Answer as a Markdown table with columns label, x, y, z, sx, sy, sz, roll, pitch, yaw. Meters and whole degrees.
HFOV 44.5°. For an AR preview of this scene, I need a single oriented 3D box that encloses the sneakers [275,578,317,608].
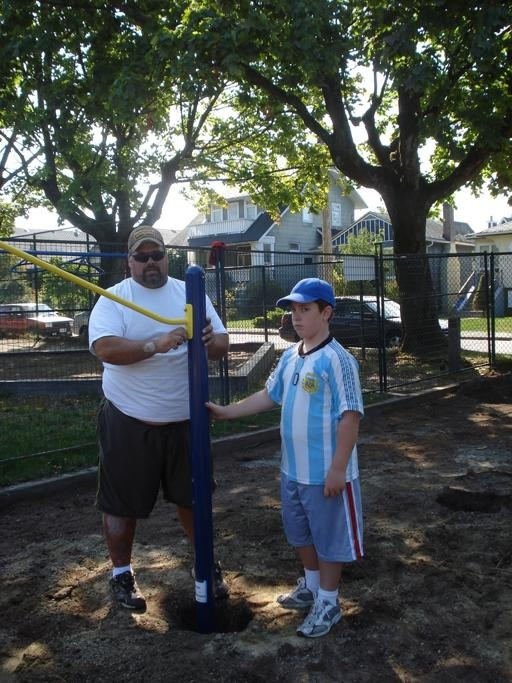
| label | x | y | z | sx | sy | sz | roll | pitch | yaw |
| --- | --- | --- | --- | --- | --- | --- | --- | --- | --- |
| sneakers | 0.187 | 1.175 | 2.907 | 0.237 | 0.107 | 0.081 | 1 | -6 | -2 |

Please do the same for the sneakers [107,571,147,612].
| label | x | y | z | sx | sy | sz | roll | pitch | yaw |
| --- | --- | --- | --- | --- | --- | --- | --- | --- | --- |
| sneakers | -0.610 | 1.184 | 2.952 | 0.090 | 0.104 | 0.244 | 0 | -4 | -34 |

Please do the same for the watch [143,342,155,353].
| label | x | y | z | sx | sy | sz | roll | pitch | yaw |
| --- | --- | --- | --- | --- | --- | --- | --- | --- | --- |
| watch | -0.468 | 0.025 | 2.748 | 0.065 | 0.050 | 0.017 | 1 | 6 | 28 |

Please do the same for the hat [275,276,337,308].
| label | x | y | z | sx | sy | sz | roll | pitch | yaw |
| --- | --- | --- | --- | --- | --- | --- | --- | --- | --- |
| hat | 0.229 | -0.225 | 2.733 | 0.207 | 0.100 | 0.138 | 4 | -3 | -15 |

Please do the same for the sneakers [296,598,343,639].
| label | x | y | z | sx | sy | sz | roll | pitch | yaw |
| --- | --- | --- | --- | --- | --- | --- | --- | --- | --- |
| sneakers | 0.270 | 1.173 | 2.703 | 0.094 | 0.120 | 0.247 | -8 | 0 | 35 |

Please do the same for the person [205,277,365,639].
| label | x | y | z | sx | sy | sz | roll | pitch | yaw |
| --- | --- | --- | --- | --- | --- | --- | --- | --- | --- |
| person | 0.221 | 0.485 | 2.765 | 0.374 | 1.523 | 0.574 | -7 | 8 | -44 |

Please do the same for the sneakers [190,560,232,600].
| label | x | y | z | sx | sy | sz | roll | pitch | yaw |
| --- | --- | --- | --- | --- | --- | --- | --- | --- | --- |
| sneakers | -0.263 | 1.165 | 3.026 | 0.112 | 0.209 | 0.323 | 3 | -14 | -12 |

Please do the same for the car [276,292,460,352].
| label | x | y | z | sx | sy | sz | roll | pitch | yaw |
| --- | --- | --- | --- | --- | --- | --- | --- | --- | --- |
| car | 1.962 | -0.392 | 11.481 | 3.065 | 1.043 | 1.401 | -2 | 1 | 20 |
